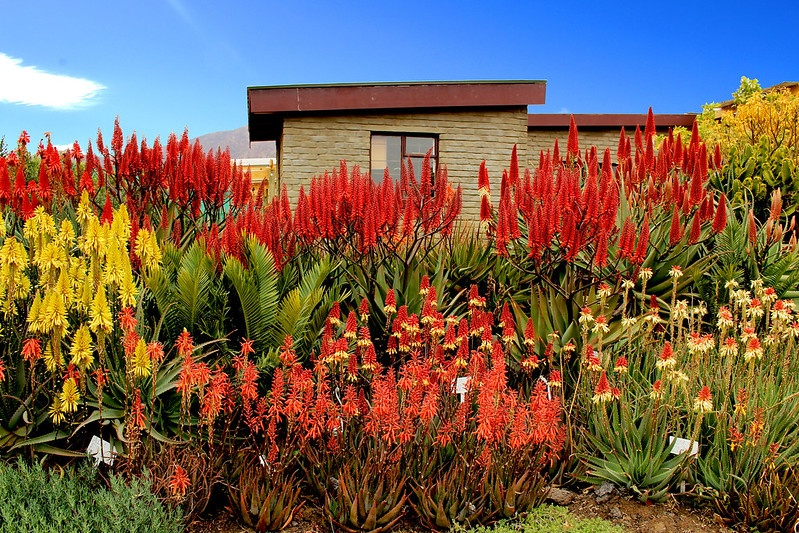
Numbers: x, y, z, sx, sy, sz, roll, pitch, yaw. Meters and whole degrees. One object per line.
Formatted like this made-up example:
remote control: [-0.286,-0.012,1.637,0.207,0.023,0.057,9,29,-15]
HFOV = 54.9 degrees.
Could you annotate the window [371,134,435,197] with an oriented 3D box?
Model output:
window: [0.049,-1.978,15.495,1.429,1.676,0.081,2,45,0]
